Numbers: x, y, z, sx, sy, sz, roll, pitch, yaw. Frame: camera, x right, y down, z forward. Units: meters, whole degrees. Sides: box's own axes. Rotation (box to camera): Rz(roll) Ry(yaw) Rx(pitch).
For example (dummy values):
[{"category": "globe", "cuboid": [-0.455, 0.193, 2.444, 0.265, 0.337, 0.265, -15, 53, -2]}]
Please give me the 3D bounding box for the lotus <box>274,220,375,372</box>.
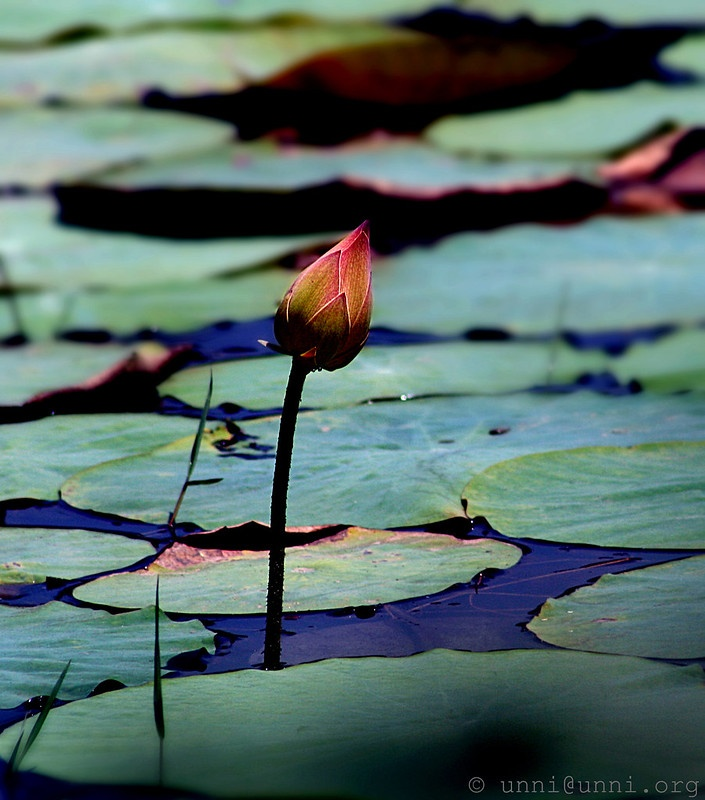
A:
[{"category": "lotus", "cuboid": [-0.021, -0.084, 0.885, 0.104, 0.125, 0.058, -9, 24, -18]}]
